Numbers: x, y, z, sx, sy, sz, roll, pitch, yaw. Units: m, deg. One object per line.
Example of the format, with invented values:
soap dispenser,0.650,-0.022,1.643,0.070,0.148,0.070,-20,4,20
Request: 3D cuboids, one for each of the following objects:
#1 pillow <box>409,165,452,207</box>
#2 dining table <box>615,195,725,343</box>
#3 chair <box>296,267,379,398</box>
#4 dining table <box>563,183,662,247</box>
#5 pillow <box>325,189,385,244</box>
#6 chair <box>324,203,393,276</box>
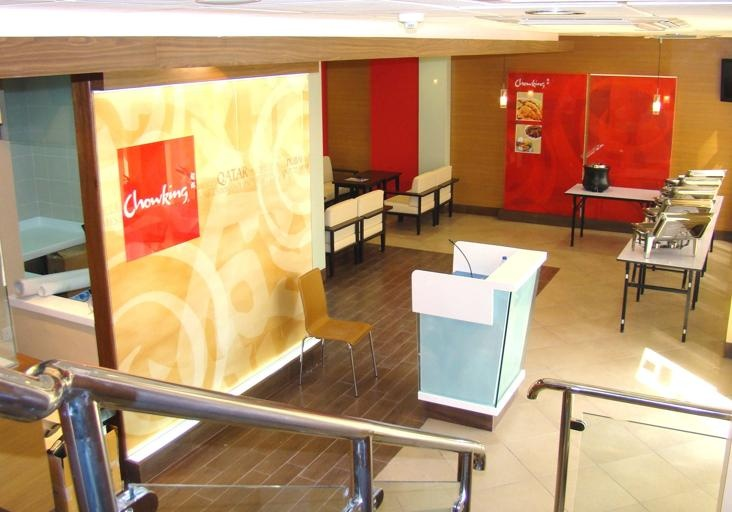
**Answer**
pillow,1.401,-1.476,11.660,0.290,0.502,0.985,9,22,33
dining table,4.307,0.220,7.840,0.930,1.289,2.240,13,25,33
chair,-0.356,0.781,6.552,0.907,1.297,1.195,2,21,10
dining table,4.661,-0.695,10.359,1.574,0.903,0.788,9,18,27
pillow,-0.196,-0.674,9.826,0.353,0.538,1.072,12,24,33
chair,-0.175,-0.277,9.738,0.387,0.612,1.212,14,29,30
